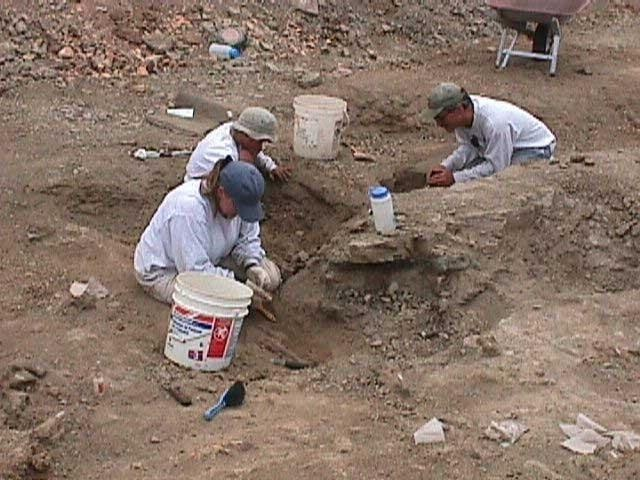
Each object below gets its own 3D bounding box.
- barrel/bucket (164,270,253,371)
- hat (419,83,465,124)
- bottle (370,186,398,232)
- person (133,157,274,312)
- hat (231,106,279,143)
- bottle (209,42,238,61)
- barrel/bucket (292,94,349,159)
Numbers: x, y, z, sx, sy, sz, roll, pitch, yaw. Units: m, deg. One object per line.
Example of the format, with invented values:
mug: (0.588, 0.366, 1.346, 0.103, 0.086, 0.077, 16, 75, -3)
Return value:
barrel/bucket: (-0.866, 0.653, 8.487, 0.529, 0.594, 0.565, 11, 5, -1)
hat: (1.047, -1.244, 9.553, 0.429, 0.235, 0.291, -16, 25, 7)
bottle: (0.512, -0.243, 8.840, 0.212, 0.460, 0.194, -10, 41, 9)
person: (-0.844, -0.020, 8.838, 1.173, 1.317, 1.100, 4, 25, -8)
hat: (-0.526, -1.011, 9.378, 0.400, 0.238, 0.360, 21, 18, 4)
bottle: (-0.943, -1.874, 10.904, 0.219, 0.074, 0.156, 0, 24, -22)
barrel/bucket: (-0.010, -1.091, 10.036, 0.491, 0.513, 0.536, 4, 28, -2)
